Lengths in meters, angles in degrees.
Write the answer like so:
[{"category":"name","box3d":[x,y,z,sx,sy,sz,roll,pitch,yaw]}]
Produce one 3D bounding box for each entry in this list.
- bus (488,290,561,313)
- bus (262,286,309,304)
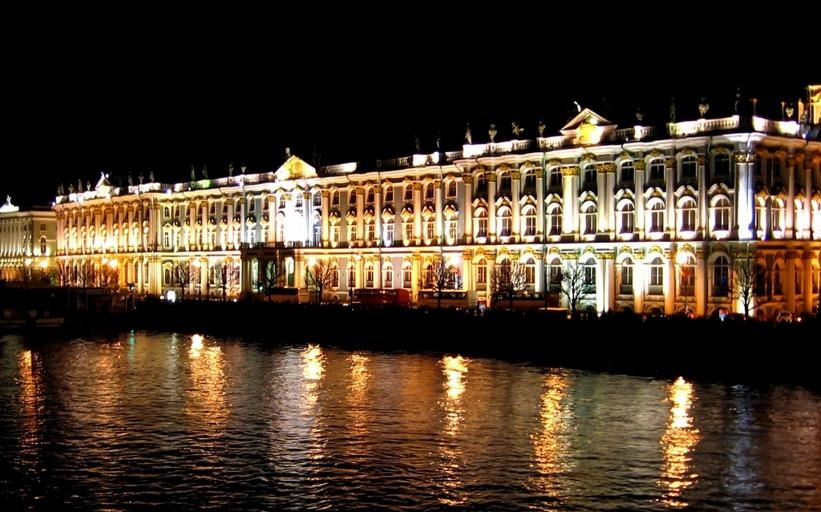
[{"category":"bus","box3d":[10.238,4.302,93.675,7.512,1.956,2.338,0,-3,18]},{"category":"bus","box3d":[-13.382,4.514,108.135,4.833,1.564,10.727,-2,7,-8]}]
